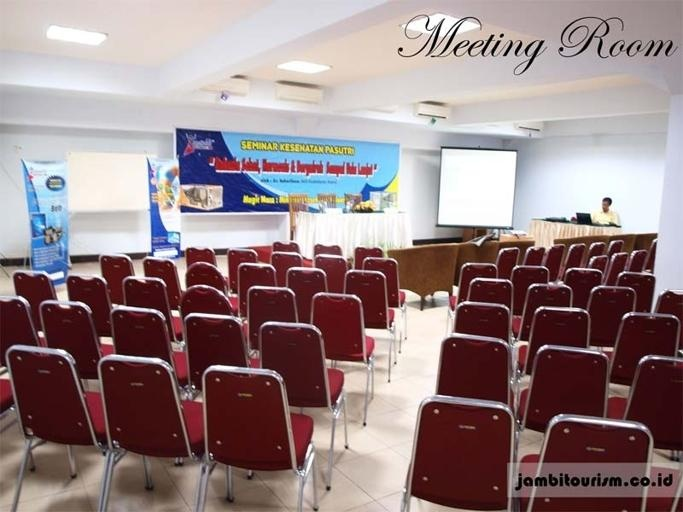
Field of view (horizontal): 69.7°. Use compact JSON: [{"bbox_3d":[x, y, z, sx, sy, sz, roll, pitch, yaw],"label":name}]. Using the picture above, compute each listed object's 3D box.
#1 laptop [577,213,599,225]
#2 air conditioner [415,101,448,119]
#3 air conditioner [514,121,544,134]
[{"bbox_3d":[5.511,-0.829,11.131,0.338,0.246,0.379,4,9,24],"label":"laptop"},{"bbox_3d":[2.267,-3.611,12.186,1.184,0.358,0.345,-7,11,-43],"label":"air conditioner"},{"bbox_3d":[5.440,-3.711,14.195,1.239,0.382,0.187,-6,11,-39],"label":"air conditioner"}]
